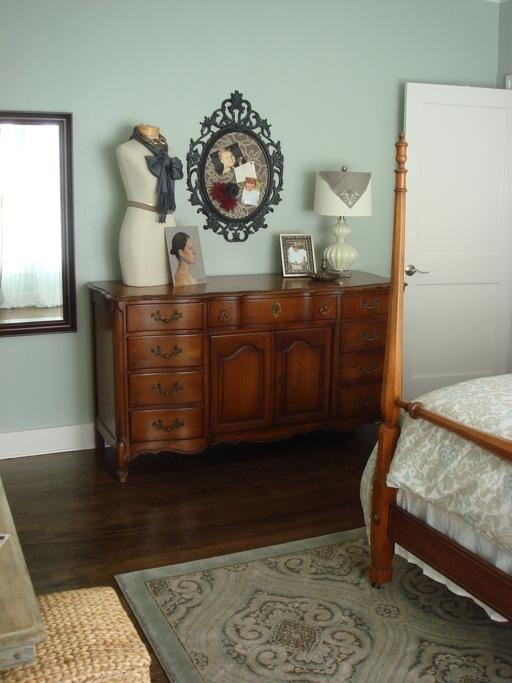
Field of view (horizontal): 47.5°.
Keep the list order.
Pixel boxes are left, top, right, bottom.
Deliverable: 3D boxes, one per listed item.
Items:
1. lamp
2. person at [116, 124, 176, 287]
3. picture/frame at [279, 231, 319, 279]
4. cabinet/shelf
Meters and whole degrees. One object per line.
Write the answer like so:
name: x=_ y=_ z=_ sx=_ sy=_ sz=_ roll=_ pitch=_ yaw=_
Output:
lamp: x=0.508 y=-0.704 z=3.405 sx=0.462 sy=0.576 sz=0.448 roll=-5 pitch=15 yaw=-23
person: x=-0.523 y=-0.668 z=2.876 sx=0.305 sy=0.788 sz=0.184 roll=-1 pitch=9 yaw=-11
picture/frame: x=0.240 y=-0.503 z=3.402 sx=0.324 sy=0.368 sz=0.026 roll=-4 pitch=-3 yaw=-34
cabinet/shelf: x=-0.007 y=0.155 z=3.180 sx=1.676 sy=0.887 sz=0.526 roll=-4 pitch=9 yaw=-25
